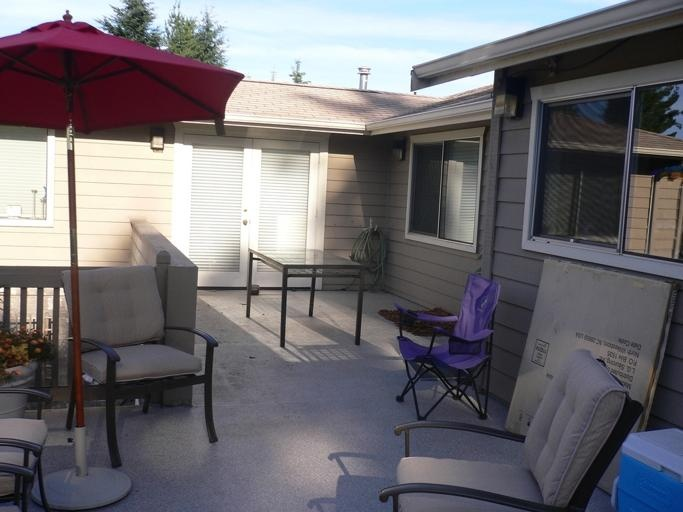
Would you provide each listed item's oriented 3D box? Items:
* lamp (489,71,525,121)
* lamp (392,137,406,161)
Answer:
[{"bbox_3d":[1.381,-1.373,4.771,0.161,0.395,0.327,-4,9,-23],"label":"lamp"},{"bbox_3d":[0.908,-1.738,9.140,0.108,0.367,0.451,-3,8,-16],"label":"lamp"}]
